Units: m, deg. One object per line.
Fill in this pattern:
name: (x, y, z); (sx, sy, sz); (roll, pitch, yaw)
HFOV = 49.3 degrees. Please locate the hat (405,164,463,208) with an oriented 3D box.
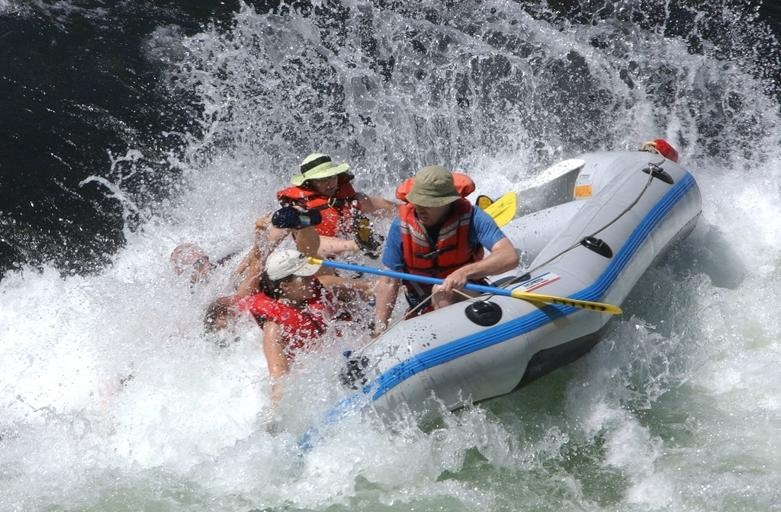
hat: (0.432, -0.701, 9.127); (0.521, 0.354, 0.440); (-23, 71, 0)

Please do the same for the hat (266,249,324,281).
hat: (-1.114, 0.110, 9.587); (0.529, 0.226, 0.343); (-6, 30, -7)

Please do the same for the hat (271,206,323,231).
hat: (-1.095, -0.440, 9.944); (0.481, 0.281, 0.188); (-2, 95, -32)

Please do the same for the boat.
boat: (1.703, 0.173, 9.784); (4.773, 1.532, 2.649); (-38, 26, -5)

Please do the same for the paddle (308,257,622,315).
paddle: (0.912, 0.339, 9.441); (3.198, 0.150, 0.189); (8, 45, 16)

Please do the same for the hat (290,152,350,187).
hat: (-0.911, -0.990, 10.633); (0.540, 0.480, 0.210); (-21, 96, 19)
